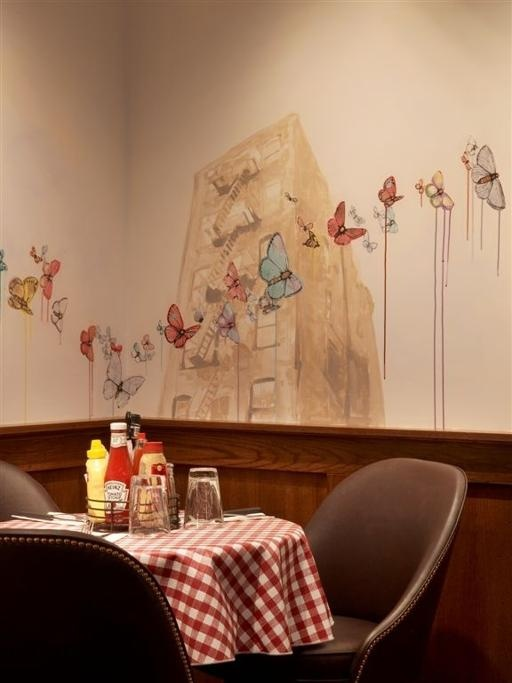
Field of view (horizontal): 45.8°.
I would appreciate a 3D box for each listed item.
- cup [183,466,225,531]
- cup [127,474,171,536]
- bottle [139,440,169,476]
[{"bbox_3d":[-0.127,0.371,1.444,0.107,0.170,0.117,1,-4,0],"label":"cup"},{"bbox_3d":[-0.231,0.347,1.308,0.091,0.163,0.107,0,-6,-2],"label":"cup"},{"bbox_3d":[-0.236,0.265,1.385,0.060,0.130,0.064,0,-9,0],"label":"bottle"}]
